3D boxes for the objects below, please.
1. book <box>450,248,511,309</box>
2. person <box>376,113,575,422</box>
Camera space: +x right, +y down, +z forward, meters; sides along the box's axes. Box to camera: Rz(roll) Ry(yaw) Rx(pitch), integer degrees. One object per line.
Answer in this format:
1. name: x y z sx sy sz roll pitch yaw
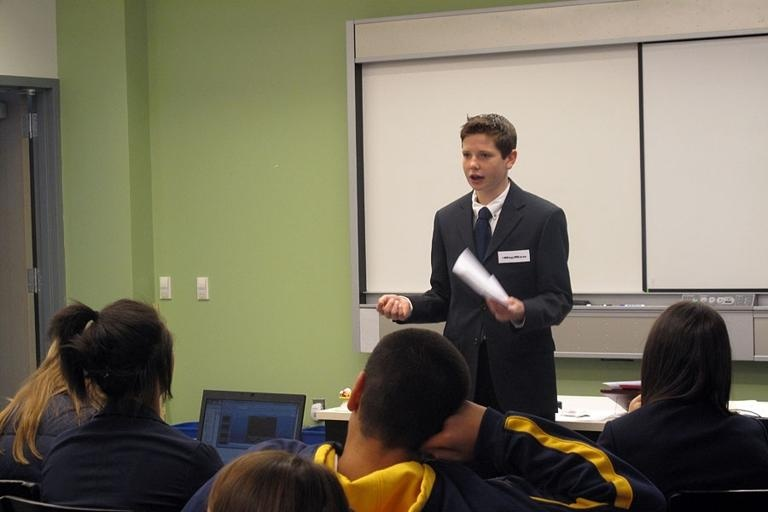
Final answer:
1. book: 0.361 0.087 2.298 0.329 0.106 0.110 44 3 37
2. person: 0.427 0.352 2.579 0.692 1.777 0.561 1 10 27
